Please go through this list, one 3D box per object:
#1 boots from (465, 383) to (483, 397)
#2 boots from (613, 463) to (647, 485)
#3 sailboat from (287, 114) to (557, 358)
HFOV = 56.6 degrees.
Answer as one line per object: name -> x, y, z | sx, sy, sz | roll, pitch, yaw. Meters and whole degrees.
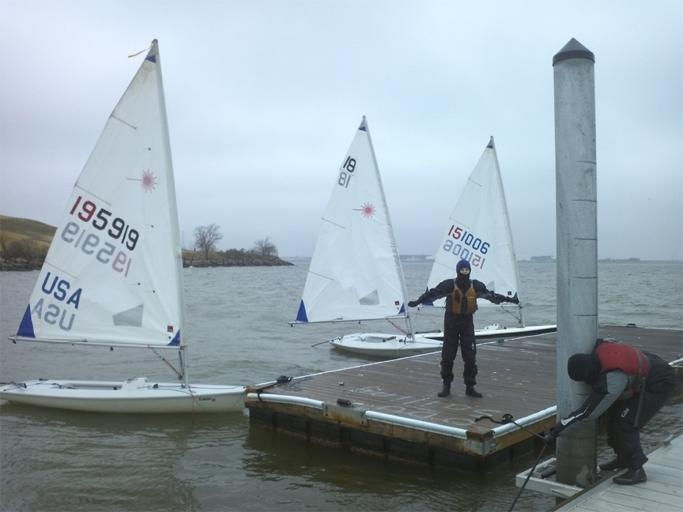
boots -> 2.148, 2.207, 10.411 | 0.309, 0.235, 0.132 | -3, 2, -9
boots -> 3.452, 2.667, 7.748 | 0.439, 0.319, 0.176 | 0, -9, 9
sailboat -> 1.937, 0.526, 16.608 | 6.227, 6.006, 2.039 | 0, 0, -7
